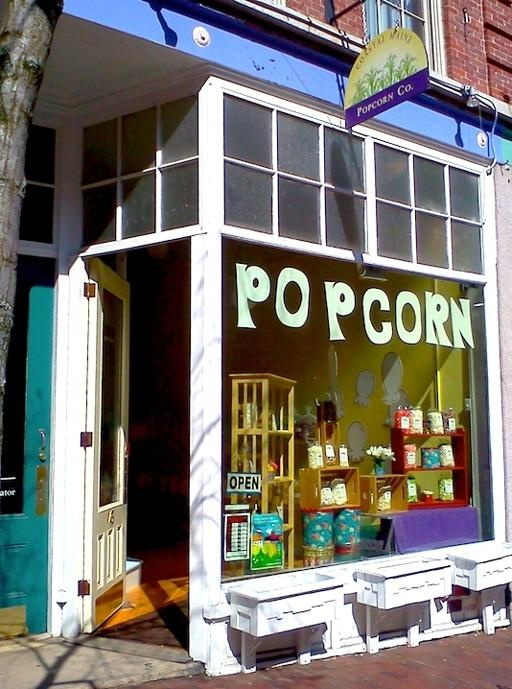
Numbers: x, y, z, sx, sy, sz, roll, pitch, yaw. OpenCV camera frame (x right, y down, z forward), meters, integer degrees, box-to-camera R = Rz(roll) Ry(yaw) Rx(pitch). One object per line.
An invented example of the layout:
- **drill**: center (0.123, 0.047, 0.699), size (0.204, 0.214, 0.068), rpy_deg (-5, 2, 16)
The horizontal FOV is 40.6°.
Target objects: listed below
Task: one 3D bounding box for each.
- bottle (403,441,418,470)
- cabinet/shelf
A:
- **bottle**: center (1.295, 0.956, 5.807), size (0.027, 0.255, 0.165), rpy_deg (-13, -19, 39)
- **cabinet/shelf**: center (0.664, 0.950, 5.243), size (2.506, 1.303, 0.640), rpy_deg (7, -7, -36)
